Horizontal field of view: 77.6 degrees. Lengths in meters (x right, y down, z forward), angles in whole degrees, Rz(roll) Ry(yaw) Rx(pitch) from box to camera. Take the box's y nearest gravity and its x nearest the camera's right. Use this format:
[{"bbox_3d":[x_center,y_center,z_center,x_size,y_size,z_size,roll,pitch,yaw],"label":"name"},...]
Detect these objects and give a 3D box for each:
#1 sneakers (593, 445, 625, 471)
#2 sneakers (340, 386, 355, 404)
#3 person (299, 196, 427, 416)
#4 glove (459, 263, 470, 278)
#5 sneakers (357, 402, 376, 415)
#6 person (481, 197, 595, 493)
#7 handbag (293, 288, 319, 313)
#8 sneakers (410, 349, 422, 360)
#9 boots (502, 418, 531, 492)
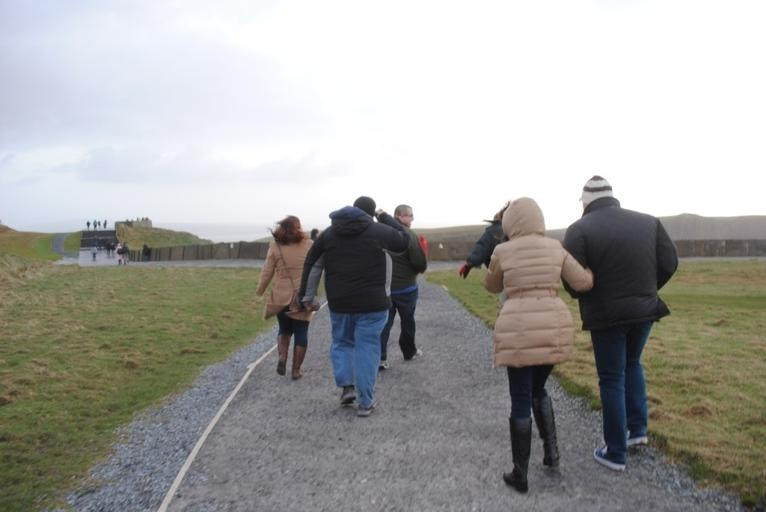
[{"bbox_3d":[2.535,2.293,5.420,0.130,0.202,0.342,-4,16,-24],"label":"sneakers"},{"bbox_3d":[-0.505,1.969,6.702,0.143,0.228,0.325,1,-35,-11],"label":"sneakers"},{"bbox_3d":[-0.340,0.729,6.647,1.442,2.804,0.843,-4,11,-3],"label":"person"},{"bbox_3d":[1.045,0.189,6.128,0.126,0.104,0.250,16,7,-3],"label":"glove"},{"bbox_3d":[-0.232,2.103,6.597,0.107,0.142,0.285,4,8,29],"label":"sneakers"},{"bbox_3d":[1.640,0.878,5.335,1.135,3.108,0.751,-10,13,-30],"label":"person"},{"bbox_3d":[-1.233,0.719,7.321,0.383,0.179,0.399,-3,5,35],"label":"handbag"},{"bbox_3d":[0.618,1.778,8.640,0.092,0.127,0.287,3,29,34],"label":"sneakers"},{"bbox_3d":[1.472,2.138,5.163,0.333,0.743,0.302,-5,12,-5],"label":"boots"}]
